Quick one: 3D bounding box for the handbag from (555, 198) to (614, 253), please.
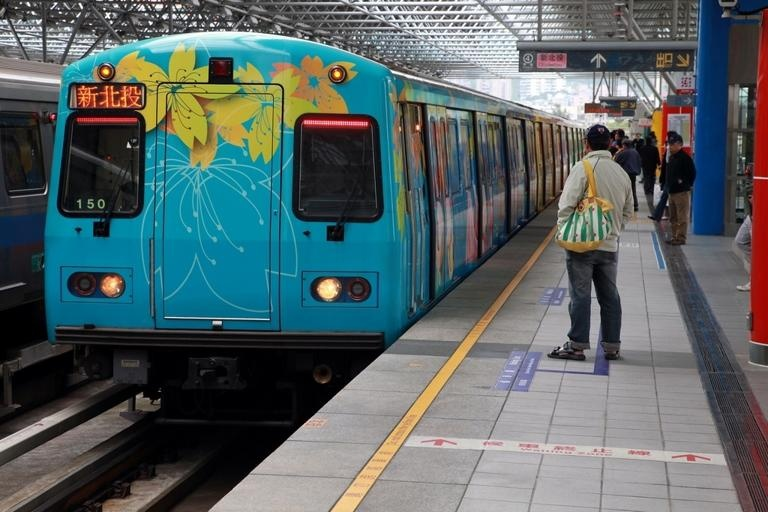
[{"bbox_3d":[2.103,-0.355,5.928,0.342,0.577,0.600,-11,12,-25],"label":"handbag"}]

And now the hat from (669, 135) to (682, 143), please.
[{"bbox_3d":[7.438,-2.993,14.374,0.273,0.252,0.439,8,11,28],"label":"hat"}]

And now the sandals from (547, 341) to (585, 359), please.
[{"bbox_3d":[1.996,1.056,6.185,0.372,0.177,0.188,5,1,9],"label":"sandals"}]

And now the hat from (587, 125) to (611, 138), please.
[{"bbox_3d":[2.311,-1.322,6.038,0.202,0.113,0.148,1,10,18],"label":"hat"}]

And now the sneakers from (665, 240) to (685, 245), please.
[{"bbox_3d":[7.609,-0.371,14.720,0.468,0.192,0.168,1,6,11],"label":"sneakers"}]

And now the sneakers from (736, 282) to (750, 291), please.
[{"bbox_3d":[6.531,0.527,10.225,0.185,0.157,0.456,8,11,30],"label":"sneakers"}]
